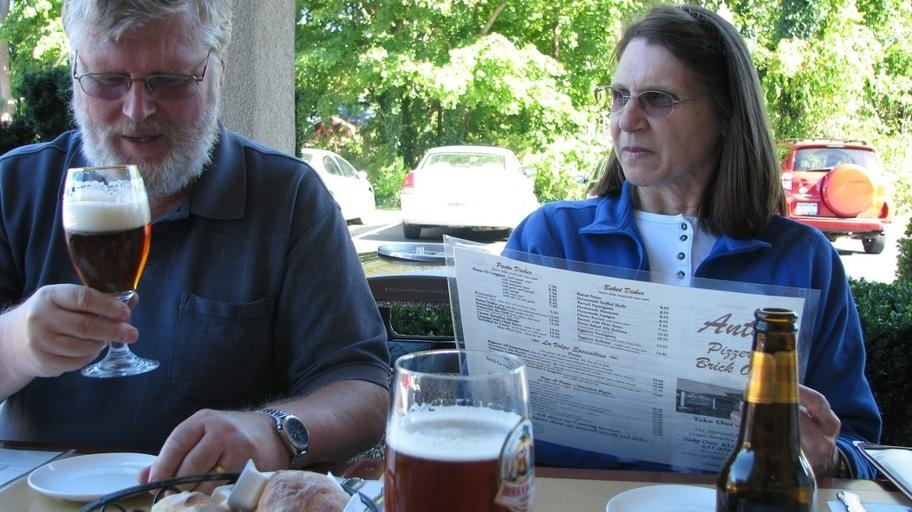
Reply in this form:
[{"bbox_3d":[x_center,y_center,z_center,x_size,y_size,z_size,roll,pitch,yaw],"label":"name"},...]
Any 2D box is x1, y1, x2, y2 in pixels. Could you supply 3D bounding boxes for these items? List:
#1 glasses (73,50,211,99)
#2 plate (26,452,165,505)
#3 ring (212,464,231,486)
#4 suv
[{"bbox_3d":[-1.198,-0.701,2.873,0.486,0.220,0.093,0,7,-17],"label":"glasses"},{"bbox_3d":[-1.161,0.693,2.344,0.368,0.106,0.204,1,6,-11],"label":"plate"},{"bbox_3d":[-0.694,0.644,2.188,0.089,0.031,0.064,5,5,-8],"label":"ring"},{"bbox_3d":[5.188,-0.914,11.157,1.719,1.579,3.016,0,8,1],"label":"suv"}]
